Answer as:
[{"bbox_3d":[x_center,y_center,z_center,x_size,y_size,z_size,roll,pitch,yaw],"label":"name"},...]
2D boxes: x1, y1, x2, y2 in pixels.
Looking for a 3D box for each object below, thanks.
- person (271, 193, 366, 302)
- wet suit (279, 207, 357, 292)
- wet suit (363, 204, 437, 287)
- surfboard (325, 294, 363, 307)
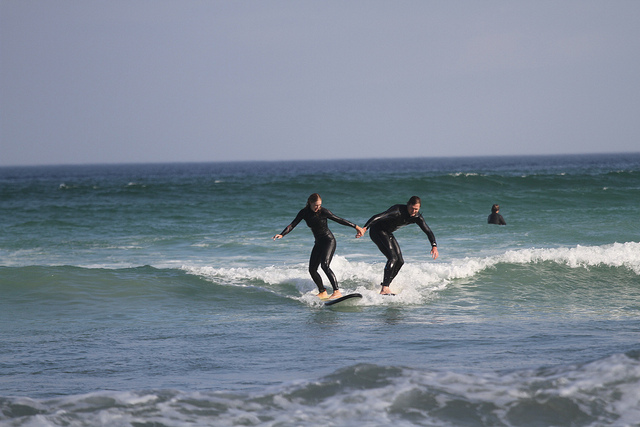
[{"bbox_3d":[0.048,0.729,21.902,1.286,2.322,0.581,-1,2,1],"label":"person"},{"bbox_3d":[0.047,0.812,22.025,1.187,1.862,0.403,-1,2,-1],"label":"wet suit"},{"bbox_3d":[1.681,0.722,22.043,1.425,1.813,0.524,-1,2,-4],"label":"wet suit"},{"bbox_3d":[0.593,1.883,21.625,0.775,0.273,0.418,-1,2,-32],"label":"surfboard"}]
